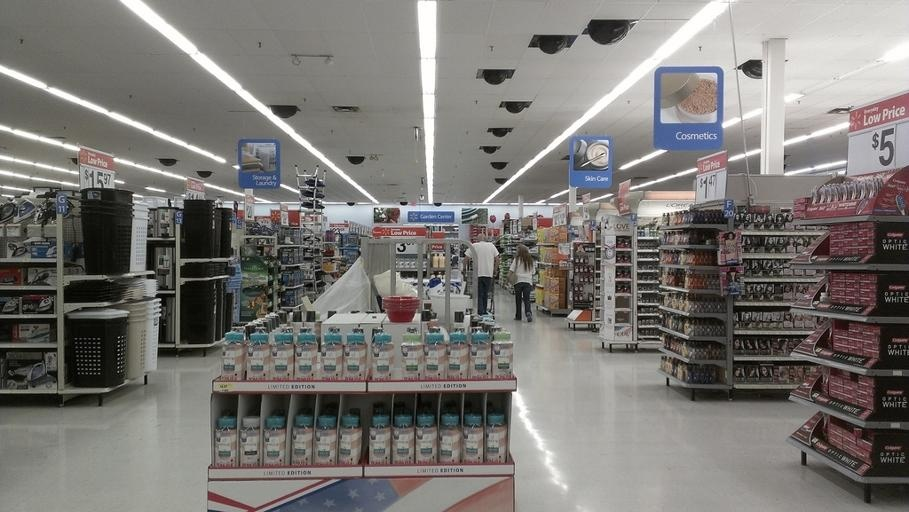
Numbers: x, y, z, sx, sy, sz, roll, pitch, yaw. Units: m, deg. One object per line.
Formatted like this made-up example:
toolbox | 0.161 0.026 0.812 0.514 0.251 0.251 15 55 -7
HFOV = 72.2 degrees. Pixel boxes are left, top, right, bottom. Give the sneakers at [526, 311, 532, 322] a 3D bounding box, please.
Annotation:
sneakers | 1.936 1.622 16.086 0.127 0.295 0.143 -3 34 -4

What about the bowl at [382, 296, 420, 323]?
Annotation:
bowl | -0.688 0.679 7.972 0.377 0.199 0.367 -1 -2 0
